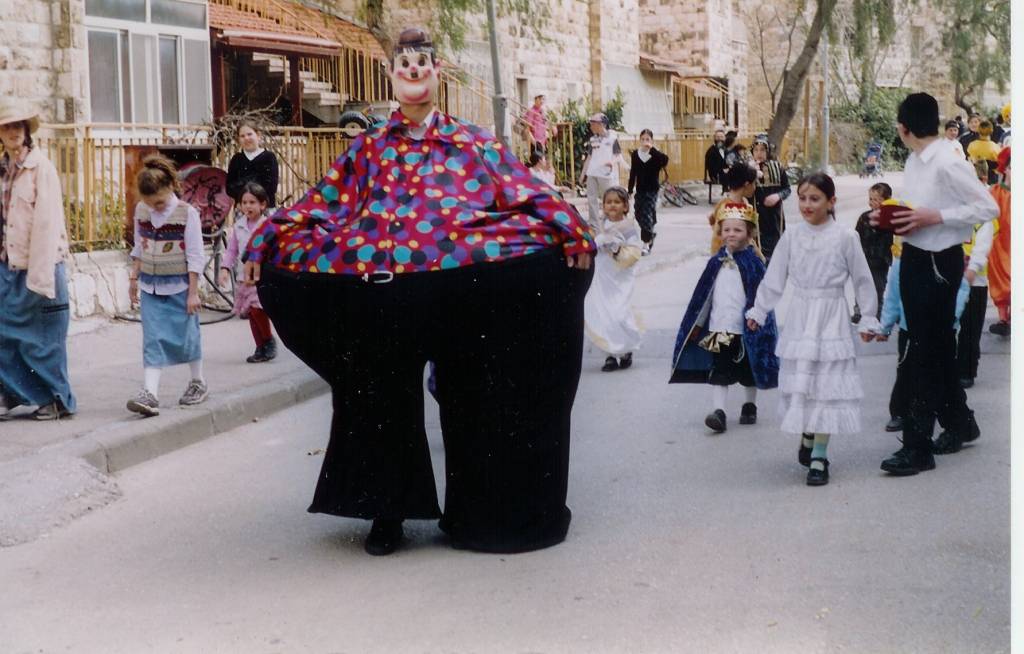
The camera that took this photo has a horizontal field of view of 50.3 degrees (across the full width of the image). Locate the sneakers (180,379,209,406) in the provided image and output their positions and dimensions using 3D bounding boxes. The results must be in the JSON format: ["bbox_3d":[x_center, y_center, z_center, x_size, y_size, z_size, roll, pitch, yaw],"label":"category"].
[{"bbox_3d":[-2.722,0.569,9.393,0.122,0.150,0.322,0,0,5],"label":"sneakers"}]

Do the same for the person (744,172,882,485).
[{"bbox_3d":[2.190,-0.022,7.931,0.865,2.162,1.150,2,14,12],"label":"person"}]

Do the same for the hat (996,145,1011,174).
[{"bbox_3d":[4.554,-1.559,10.111,0.089,0.216,0.167,1,-8,6],"label":"hat"}]

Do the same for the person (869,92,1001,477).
[{"bbox_3d":[2.981,-0.304,7.736,0.766,2.639,0.669,0,14,7],"label":"person"}]

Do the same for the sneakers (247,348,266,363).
[{"bbox_3d":[-2.557,0.288,11.076,0.255,0.185,0.093,3,2,11],"label":"sneakers"}]

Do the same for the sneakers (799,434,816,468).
[{"bbox_3d":[2.134,0.895,7.892,0.088,0.261,0.102,3,6,10],"label":"sneakers"}]

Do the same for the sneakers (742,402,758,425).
[{"bbox_3d":[1.987,0.730,9.134,0.144,0.154,0.361,-1,-3,13],"label":"sneakers"}]

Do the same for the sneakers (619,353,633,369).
[{"bbox_3d":[1.172,0.347,11.275,0.118,0.153,0.159,-3,4,4],"label":"sneakers"}]

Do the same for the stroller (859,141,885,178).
[{"bbox_3d":[11.081,-5.213,33.719,0.629,0.813,1.871,-1,15,21],"label":"stroller"}]

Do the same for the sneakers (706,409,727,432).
[{"bbox_3d":[1.653,0.757,8.854,0.170,0.193,0.198,1,14,9],"label":"sneakers"}]

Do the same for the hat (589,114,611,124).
[{"bbox_3d":[1.583,-3.765,19.705,0.412,0.154,0.431,2,8,11],"label":"hat"}]

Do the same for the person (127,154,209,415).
[{"bbox_3d":[-2.950,-0.347,9.102,0.609,2.098,0.854,2,14,13],"label":"person"}]

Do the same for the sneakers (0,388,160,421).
[{"bbox_3d":[-3.599,0.657,9.057,0.656,0.295,0.225,2,-1,-2],"label":"sneakers"}]
